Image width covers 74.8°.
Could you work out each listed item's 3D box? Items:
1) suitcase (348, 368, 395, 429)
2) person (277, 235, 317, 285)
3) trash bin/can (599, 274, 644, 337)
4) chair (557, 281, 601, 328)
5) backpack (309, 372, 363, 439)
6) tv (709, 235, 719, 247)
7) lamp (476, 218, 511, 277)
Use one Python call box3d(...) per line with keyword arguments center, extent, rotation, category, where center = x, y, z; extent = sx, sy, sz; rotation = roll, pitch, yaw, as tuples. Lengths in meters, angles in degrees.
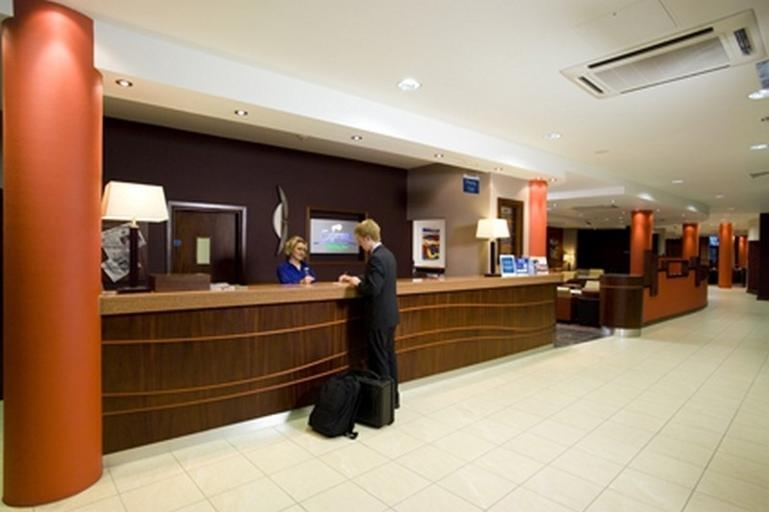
box3d(center=(-0.153, 1.639, 5.688), extent=(0.293, 0.572, 0.568), rotation=(-4, 6, -45), category="suitcase")
box3d(center=(-1.226, 0.054, 7.079), extent=(0.646, 0.719, 0.613), rotation=(0, 0, 34), category="person")
box3d(center=(4.873, 0.971, 10.295), extent=(0.763, 1.281, 0.857), rotation=(-1, 3, -12), category="trash bin/can")
box3d(center=(4.667, 1.111, 11.477), extent=(0.984, 1.032, 1.412), rotation=(4, -2, -22), category="chair")
box3d(center=(-0.572, 1.655, 5.679), extent=(0.403, 0.696, 0.609), rotation=(8, 0, -39), category="backpack")
box3d(center=(20.138, -0.899, 30.582), extent=(0.375, 0.700, 0.703), rotation=(0, 1, -35), category="tv")
box3d(center=(1.997, -0.200, 9.329), extent=(0.571, 1.021, 0.740), rotation=(1, 6, 10), category="lamp")
